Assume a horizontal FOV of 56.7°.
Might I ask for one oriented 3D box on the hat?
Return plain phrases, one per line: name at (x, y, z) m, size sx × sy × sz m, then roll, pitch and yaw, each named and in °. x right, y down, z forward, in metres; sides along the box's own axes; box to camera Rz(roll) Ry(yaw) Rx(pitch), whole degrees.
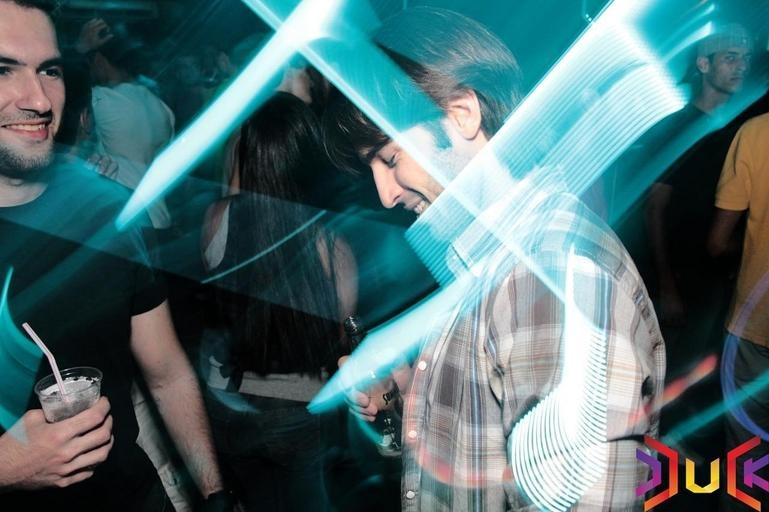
hat at (2.512, -1.599, 5.520) m, size 0.383 × 0.298 × 0.534 m, roll 2°, pitch -28°, yaw -32°
